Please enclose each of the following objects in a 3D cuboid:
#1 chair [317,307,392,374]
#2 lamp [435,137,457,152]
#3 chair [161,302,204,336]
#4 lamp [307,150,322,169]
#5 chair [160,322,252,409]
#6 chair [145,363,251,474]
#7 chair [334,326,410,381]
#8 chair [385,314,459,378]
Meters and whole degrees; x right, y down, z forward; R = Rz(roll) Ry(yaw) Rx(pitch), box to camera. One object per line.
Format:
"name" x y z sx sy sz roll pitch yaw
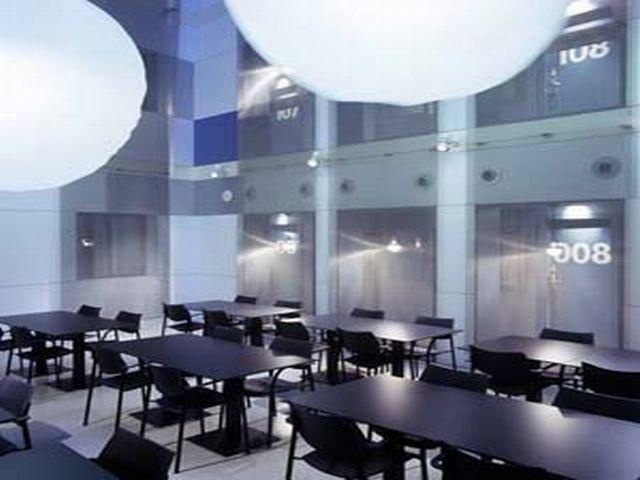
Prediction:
"chair" 0.482 1.243 5.730 0.567 0.729 0.540 4 18 25
"lamp" 1.747 -1.320 7.074 0.204 0.122 0.204 6 7 43
"chair" -2.034 1.221 7.548 0.597 0.679 0.577 2 6 3
"lamp" -0.097 -1.326 8.425 0.067 0.262 0.315 2 -3 -42
"chair" -1.139 1.278 5.426 0.884 1.087 0.829 0 -7 36
"chair" -1.241 1.506 4.923 0.921 1.210 0.863 -2 2 -39
"chair" 0.622 1.220 5.530 0.647 0.702 0.641 0 -27 -18
"chair" 1.413 1.208 6.103 0.469 0.527 0.476 -5 1 40
